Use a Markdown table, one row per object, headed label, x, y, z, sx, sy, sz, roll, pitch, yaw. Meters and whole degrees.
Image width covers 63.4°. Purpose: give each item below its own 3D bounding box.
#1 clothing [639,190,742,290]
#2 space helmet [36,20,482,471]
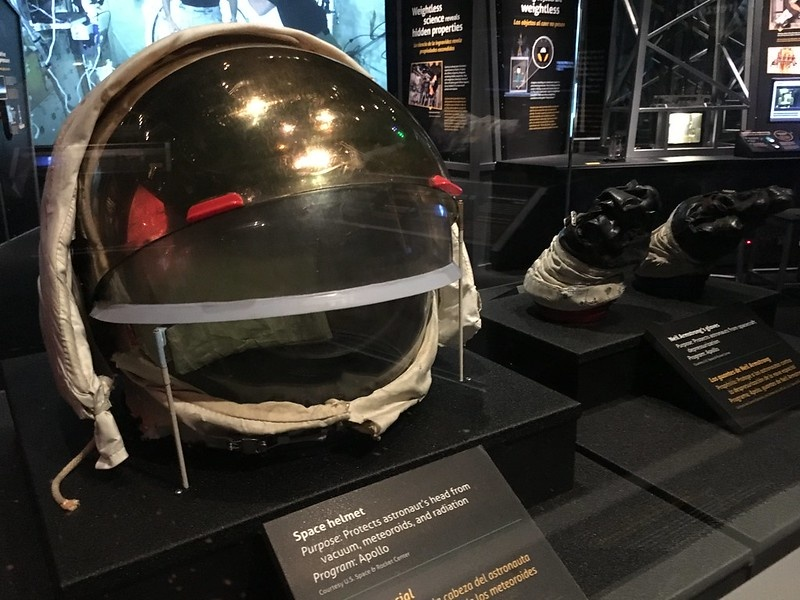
| label | x | y | z | sx | sy | sz | roll | pitch | yaw |
| --- | --- | --- | --- | --- | --- | --- | --- | --- | --- |
| clothing | 0.985 | -0.183 | 2.223 | 0.268 | 0.363 | 0.200 | -4 | 36 | -31 |
| space helmet | -0.394 | -0.117 | 1.598 | 0.963 | 0.857 | 0.914 | -11 | 25 | -36 |
